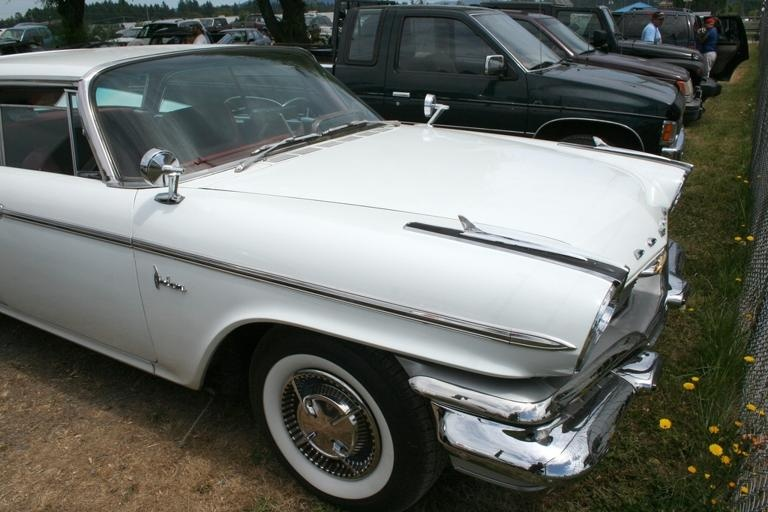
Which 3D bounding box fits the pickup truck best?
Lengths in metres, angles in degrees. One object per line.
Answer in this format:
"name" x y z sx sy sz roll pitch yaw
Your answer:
"pickup truck" 1.301 -2.004 6.410 3.801 1.486 1.929 7 30 16
